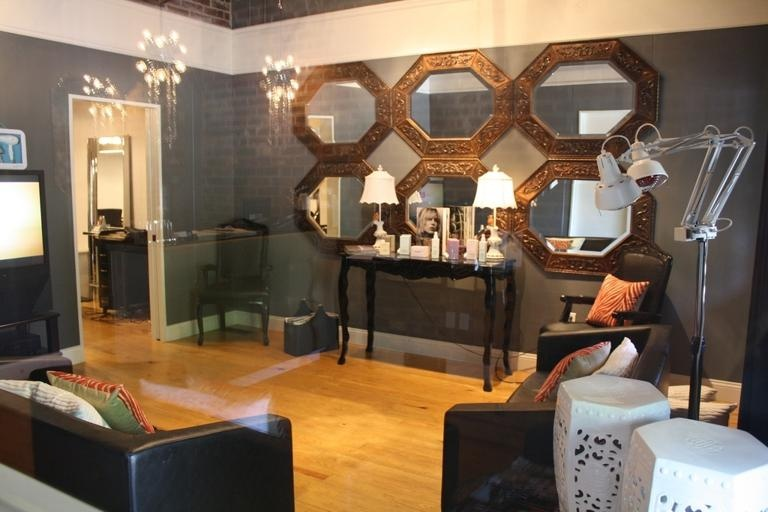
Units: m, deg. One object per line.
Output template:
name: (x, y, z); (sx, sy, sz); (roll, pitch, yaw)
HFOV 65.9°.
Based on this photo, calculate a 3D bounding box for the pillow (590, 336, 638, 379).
pillow: (0.897, 0.383, 2.293); (0.053, 0.182, 0.131); (14, -44, 50)

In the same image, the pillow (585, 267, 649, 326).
pillow: (1.010, 0.161, 2.538); (0.121, 0.210, 0.235); (38, -11, -10)

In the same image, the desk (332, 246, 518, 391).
desk: (0.209, 0.290, 2.767); (0.729, 0.503, 0.264); (2, 2, 35)

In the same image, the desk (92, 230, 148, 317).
desk: (-1.300, 0.113, 3.130); (0.279, 0.387, 0.393); (7, -10, -10)

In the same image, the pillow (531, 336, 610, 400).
pillow: (0.746, 0.432, 2.308); (0.077, 0.242, 0.260); (36, -29, -6)
